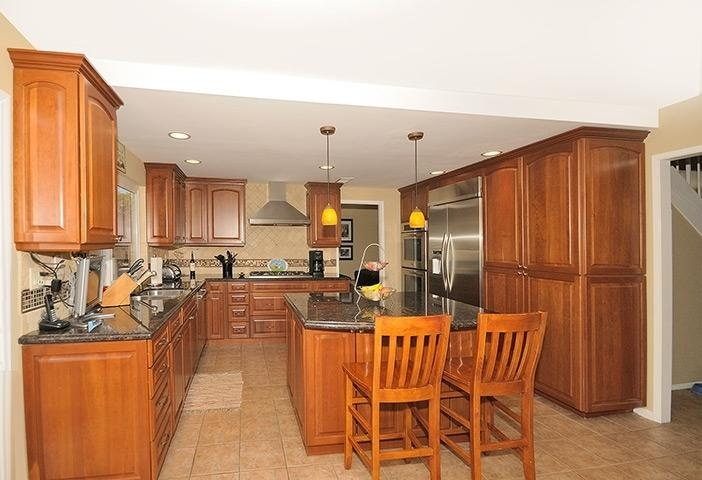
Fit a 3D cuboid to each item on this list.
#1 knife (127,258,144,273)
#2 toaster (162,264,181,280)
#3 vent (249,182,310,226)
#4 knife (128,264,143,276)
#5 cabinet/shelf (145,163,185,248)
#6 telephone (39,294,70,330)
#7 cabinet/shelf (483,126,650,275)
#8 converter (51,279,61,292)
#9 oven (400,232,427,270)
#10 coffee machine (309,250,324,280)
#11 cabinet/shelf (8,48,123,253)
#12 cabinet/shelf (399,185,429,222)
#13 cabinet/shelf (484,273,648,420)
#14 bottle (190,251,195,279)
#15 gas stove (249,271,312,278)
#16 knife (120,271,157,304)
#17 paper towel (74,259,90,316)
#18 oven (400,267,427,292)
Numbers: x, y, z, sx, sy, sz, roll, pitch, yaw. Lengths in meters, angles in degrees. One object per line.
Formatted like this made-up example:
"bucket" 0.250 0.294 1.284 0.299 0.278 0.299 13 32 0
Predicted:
"knife" -2.232 0.256 5.253 0.068 0.208 0.035 45 -30 -6
"toaster" -2.380 0.424 6.781 0.225 0.126 0.209 -2 4 -7
"vent" -1.136 -0.600 7.690 0.967 0.590 0.686 -3 16 -28
"knife" -2.163 0.296 5.099 0.196 0.050 0.114 -28 -14 36
"cabinet/shelf" -2.357 -0.454 6.383 0.392 0.949 1.039 -1 3 -12
"telephone" -2.267 0.546 3.901 0.223 0.253 0.202 4 7 23
"cabinet/shelf" 2.219 -0.413 5.103 0.682 1.229 1.506 2 -2 -13
"converter" -2.298 0.356 3.988 0.058 0.103 0.122 0 0 -5
"oven" 0.961 0.163 7.703 0.345 0.549 0.619 2 -3 -9
"coffee machine" -0.525 0.345 7.738 0.211 0.384 0.341 0 0 -8
"cabinet/shelf" -2.139 -0.626 3.845 0.608 1.423 0.504 0 0 -9
"cabinet/shelf" 0.905 -0.538 7.252 0.282 0.620 0.777 2 -2 -6
"cabinet/shelf" 2.072 1.028 4.724 0.726 1.245 1.441 1 -3 -8
"bottle" -2.292 0.361 7.370 0.088 0.370 0.358 0 0 -18
"gas stove" -1.056 0.513 7.569 0.896 0.088 0.622 0 -1 -4
"knife" -2.133 0.481 5.095 0.070 0.289 0.153 29 8 -6
"paper towel" -2.187 0.359 4.159 0.123 0.464 0.095 -13 -18 31
"oven" 0.960 0.608 7.702 0.335 0.335 0.553 1 -2 -9
